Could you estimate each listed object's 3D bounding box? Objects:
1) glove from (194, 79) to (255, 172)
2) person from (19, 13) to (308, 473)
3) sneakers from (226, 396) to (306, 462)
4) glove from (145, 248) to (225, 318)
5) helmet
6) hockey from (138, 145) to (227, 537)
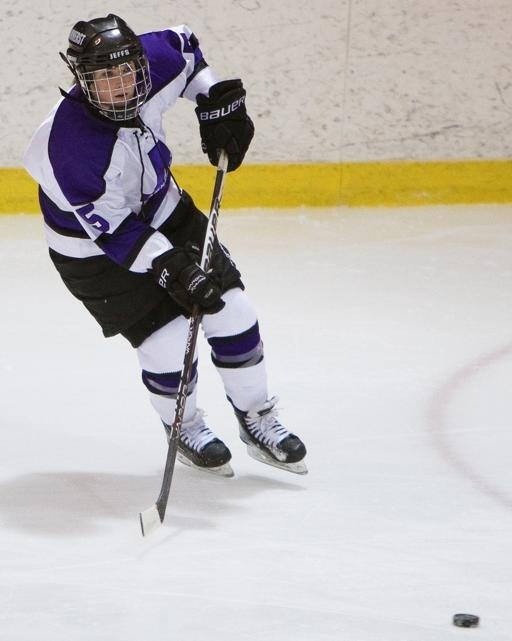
[{"bbox_3d":[-0.078,-0.549,2.201,0.188,0.229,0.093,-11,22,8],"label":"glove"},{"bbox_3d":[-0.237,-0.163,2.093,0.601,1.227,0.547,-7,20,2],"label":"person"},{"bbox_3d":[0.009,0.296,2.243,0.100,0.143,0.310,-37,25,-16],"label":"sneakers"},{"bbox_3d":[-0.167,-0.092,1.936,0.128,0.189,0.081,-44,7,1],"label":"glove"},{"bbox_3d":[-0.342,-0.580,1.795,0.183,0.245,0.193,-9,19,-8],"label":"helmet"},{"bbox_3d":[-0.201,0.094,2.071,0.079,1.136,0.179,7,-9,20],"label":"hockey"}]
